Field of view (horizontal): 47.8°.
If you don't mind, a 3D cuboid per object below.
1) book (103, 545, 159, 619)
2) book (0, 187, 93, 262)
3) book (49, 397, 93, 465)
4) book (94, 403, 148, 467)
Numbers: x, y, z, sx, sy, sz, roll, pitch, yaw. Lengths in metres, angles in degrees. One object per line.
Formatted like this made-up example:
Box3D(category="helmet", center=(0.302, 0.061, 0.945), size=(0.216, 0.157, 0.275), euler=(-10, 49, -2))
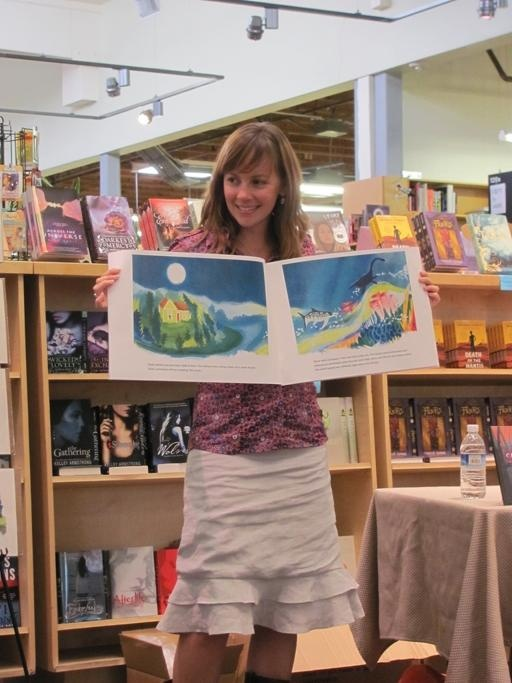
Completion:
Box3D(category="book", center=(-0.493, 0.937, 2.284), size=(0.201, 0.257, 0.027), euler=(-5, -11, 8))
Box3D(category="book", center=(-0.809, -0.389, 2.292), size=(0.341, 0.308, 0.078), euler=(0, -24, -17))
Box3D(category="book", center=(-0.736, 0.356, 2.274), size=(0.223, 0.256, 0.171), euler=(0, -13, -17))
Box3D(category="book", center=(-0.536, 0.376, 2.284), size=(0.196, 0.237, 0.058), euler=(2, -19, -20))
